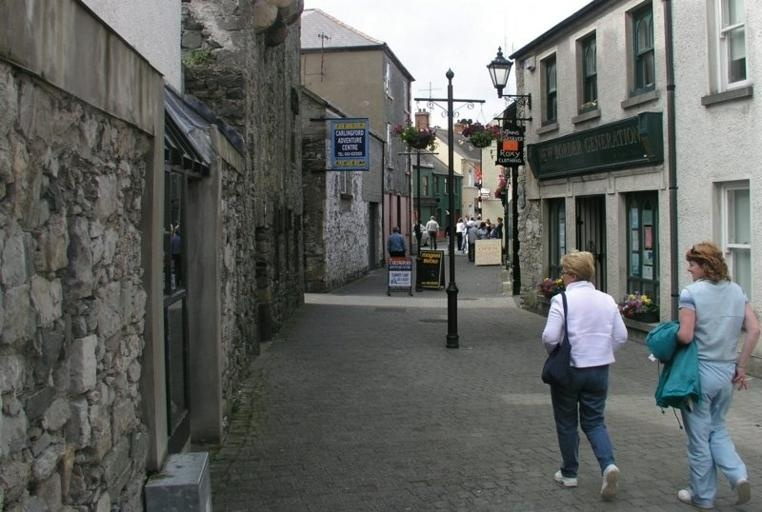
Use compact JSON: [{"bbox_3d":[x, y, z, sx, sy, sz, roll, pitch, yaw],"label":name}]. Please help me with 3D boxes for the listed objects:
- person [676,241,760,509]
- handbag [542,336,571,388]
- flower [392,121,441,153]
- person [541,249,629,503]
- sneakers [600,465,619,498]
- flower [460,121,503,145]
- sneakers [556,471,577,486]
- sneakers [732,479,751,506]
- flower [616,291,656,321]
[{"bbox_3d":[2.943,1.022,7.453,0.695,2.268,0.478,-3,1,-14],"label":"person"},{"bbox_3d":[1.581,0.962,7.738,0.159,0.460,0.273,-4,2,-45],"label":"handbag"},{"bbox_3d":[1.078,-3.422,24.752,0.865,0.575,0.814,4,7,12],"label":"flower"},{"bbox_3d":[1.857,1.060,7.771,0.676,2.162,0.589,-2,2,21],"label":"person"},{"bbox_3d":[1.999,1.970,7.497,0.121,0.346,0.150,4,18,10],"label":"sneakers"},{"bbox_3d":[2.285,-2.738,19.224,0.903,0.540,0.495,-3,2,-2],"label":"flower"},{"bbox_3d":[1.701,2.062,7.877,0.089,0.112,0.223,-2,9,-22],"label":"sneakers"},{"bbox_3d":[3.078,2.043,7.281,0.098,0.306,0.125,-2,21,15],"label":"sneakers"},{"bbox_3d":[4.439,0.871,14.694,0.437,0.488,0.650,-2,4,-1],"label":"flower"}]
